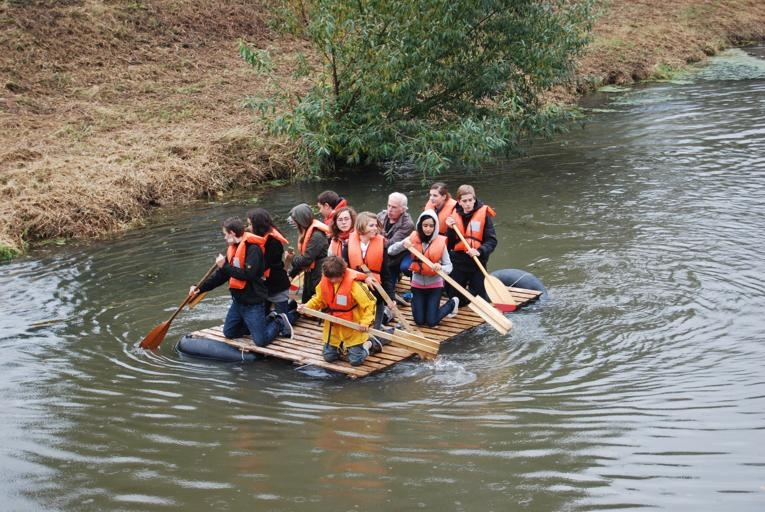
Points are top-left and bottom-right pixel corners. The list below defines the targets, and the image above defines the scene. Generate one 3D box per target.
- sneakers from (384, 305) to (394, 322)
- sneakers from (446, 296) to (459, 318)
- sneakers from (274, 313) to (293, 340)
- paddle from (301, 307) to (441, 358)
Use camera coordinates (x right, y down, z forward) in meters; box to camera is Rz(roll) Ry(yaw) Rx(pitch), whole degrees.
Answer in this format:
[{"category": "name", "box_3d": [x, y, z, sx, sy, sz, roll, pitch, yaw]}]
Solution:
[{"category": "sneakers", "box_3d": [0.086, 0.977, 14.694, 0.138, 0.315, 0.143, -31, 37, 0]}, {"category": "sneakers", "box_3d": [1.226, 0.861, 14.700, 0.188, 0.333, 0.162, -3, 20, -16]}, {"category": "sneakers", "box_3d": [-1.555, 1.153, 14.184, 0.234, 0.433, 0.205, -14, 16, 22]}, {"category": "paddle", "box_3d": [0.058, 1.267, 13.964, 2.392, 0.242, 0.348, 8, 48, 46]}]
